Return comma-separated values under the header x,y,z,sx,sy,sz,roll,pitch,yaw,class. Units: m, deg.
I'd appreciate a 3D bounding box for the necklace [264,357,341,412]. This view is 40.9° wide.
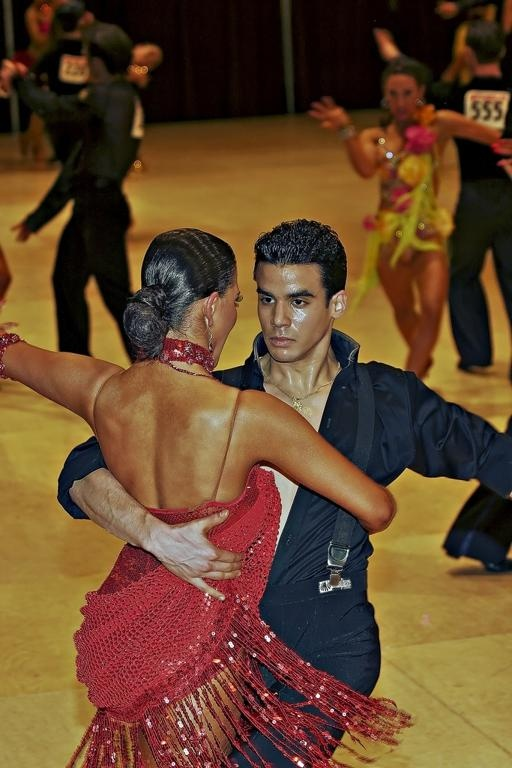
x,y,z,sx,sy,sz,roll,pitch,yaw,class
0.095,-0.023,1.543,0.130,0.145,0.066,-5,13,6,necklace
